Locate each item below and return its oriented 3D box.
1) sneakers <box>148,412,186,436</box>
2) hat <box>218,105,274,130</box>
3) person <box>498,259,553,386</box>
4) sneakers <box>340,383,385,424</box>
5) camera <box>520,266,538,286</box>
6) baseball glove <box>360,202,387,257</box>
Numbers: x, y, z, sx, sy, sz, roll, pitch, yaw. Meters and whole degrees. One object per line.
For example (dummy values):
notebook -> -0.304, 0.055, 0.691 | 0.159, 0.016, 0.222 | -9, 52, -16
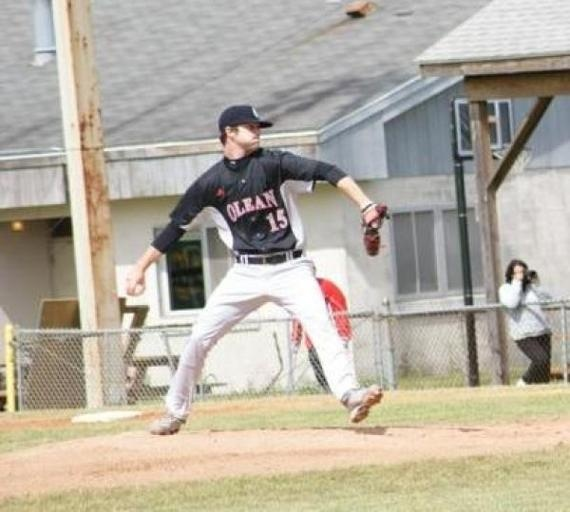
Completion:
sneakers -> -1.007, 1.403, 11.958 | 0.274, 0.140, 0.147 | 1, -5, -12
hat -> -0.383, -1.146, 11.826 | 0.338, 0.173, 0.253 | -3, 2, 14
person -> 2.455, 0.666, 14.784 | 0.595, 1.261, 0.457 | -1, -4, -11
sneakers -> 0.601, 1.175, 11.556 | 0.234, 0.104, 0.341 | 23, -36, 5
camera -> 2.528, 0.210, 14.815 | 0.131, 0.205, 0.105 | -2, 30, 5
baseball glove -> 0.699, -0.213, 11.328 | 0.225, 0.411, 0.204 | 15, 20, 7
